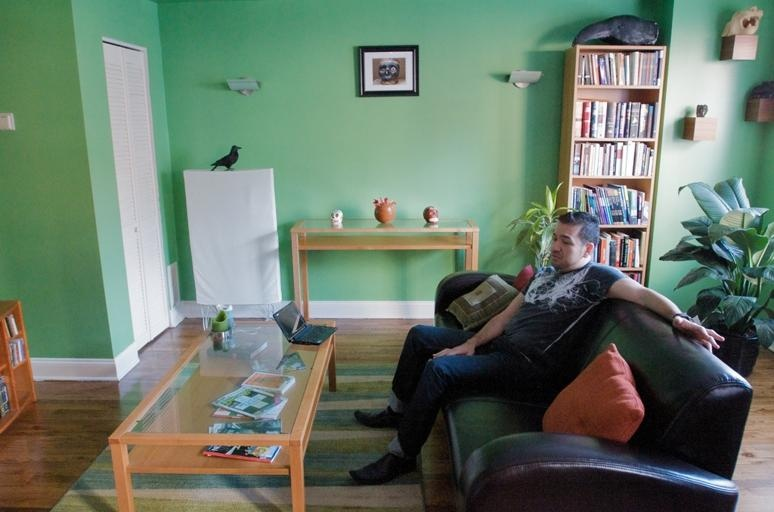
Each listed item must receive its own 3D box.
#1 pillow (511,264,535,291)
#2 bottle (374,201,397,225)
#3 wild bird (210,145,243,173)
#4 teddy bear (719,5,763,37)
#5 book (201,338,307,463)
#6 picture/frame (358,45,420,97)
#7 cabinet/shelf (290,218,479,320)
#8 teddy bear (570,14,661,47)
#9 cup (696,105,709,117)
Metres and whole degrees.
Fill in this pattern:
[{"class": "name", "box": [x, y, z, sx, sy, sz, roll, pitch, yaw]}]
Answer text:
[{"class": "pillow", "box": [1.050, 0.162, 4.430, 0.105, 0.183, 0.182, 29, 3, 11]}, {"class": "bottle", "box": [-0.009, -0.400, 5.350, 0.245, 0.238, 0.210, 2, 1, 2]}, {"class": "wild bird", "box": [-1.519, -0.943, 5.418, 0.280, 0.226, 0.435, -6, 12, -13]}, {"class": "teddy bear", "box": [3.019, -2.007, 4.890, 0.264, 0.217, 0.116, 2, 15, 23]}, {"class": "book", "box": [-0.783, 0.909, 3.431, 0.403, 0.127, 0.573, 1, 29, 5]}, {"class": "picture/frame", "box": [0.018, -1.762, 5.332, 0.513, 0.372, 0.039, 0, 13, 0]}, {"class": "cabinet/shelf", "box": [-0.008, 0.071, 5.411, 1.120, 0.852, 0.329, -1, 10, 0]}, {"class": "teddy bear", "box": [2.038, -1.980, 5.131, 0.660, 0.238, 0.313, -4, 29, 7]}, {"class": "cup", "box": [2.789, -1.299, 5.075, 0.100, 0.113, 0.140, 4, 14, 29]}]
